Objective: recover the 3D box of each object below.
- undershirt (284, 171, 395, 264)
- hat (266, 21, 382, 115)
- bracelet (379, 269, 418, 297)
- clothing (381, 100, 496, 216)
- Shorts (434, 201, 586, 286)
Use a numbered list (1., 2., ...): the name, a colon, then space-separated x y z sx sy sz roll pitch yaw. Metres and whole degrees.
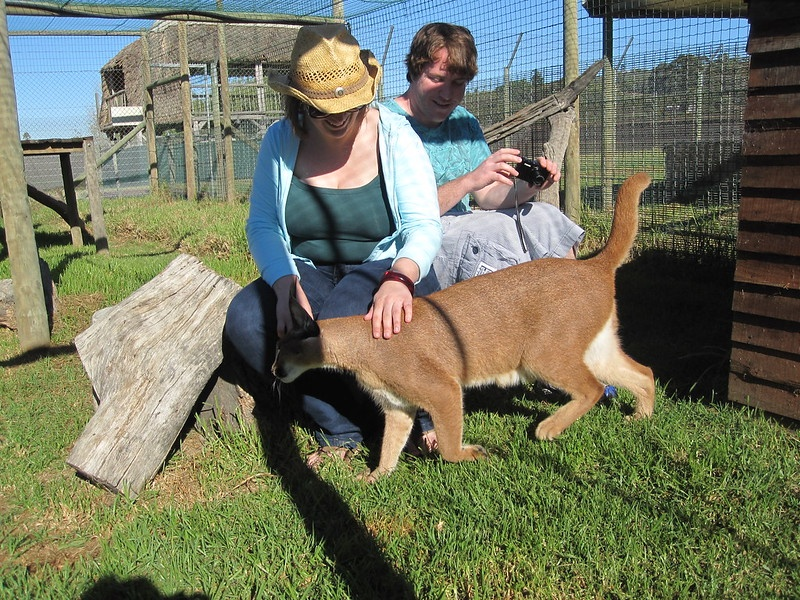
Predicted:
1. undershirt: -0.409 -0.384 3.701 0.743 0.752 0.473 1 -22 -12
2. hat: -0.408 -1.351 3.309 0.658 0.361 0.719 -28 39 -30
3. bracelet: -0.013 -0.091 3.340 0.181 0.194 0.257 0 17 4
4. clothing: 0.242 -0.954 3.976 0.660 0.668 0.351 -32 22 -13
5. Shorts: 0.805 -0.534 4.390 0.775 0.368 1.217 -21 16 3
